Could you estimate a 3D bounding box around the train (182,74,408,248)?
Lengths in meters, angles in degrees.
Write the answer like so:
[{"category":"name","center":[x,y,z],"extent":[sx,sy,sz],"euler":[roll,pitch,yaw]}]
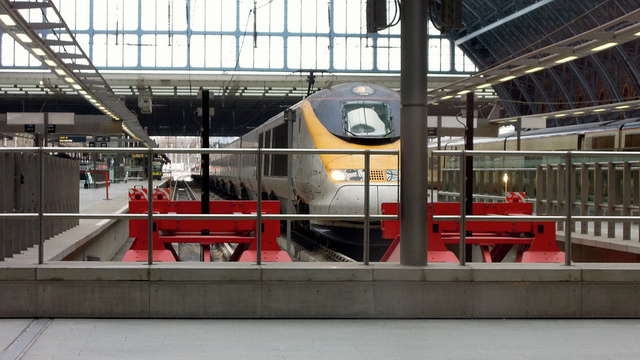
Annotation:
[{"category":"train","center":[-1.396,-0.770,21.146],"extent":[3.529,4.184,20.738],"euler":[1,2,-15]}]
